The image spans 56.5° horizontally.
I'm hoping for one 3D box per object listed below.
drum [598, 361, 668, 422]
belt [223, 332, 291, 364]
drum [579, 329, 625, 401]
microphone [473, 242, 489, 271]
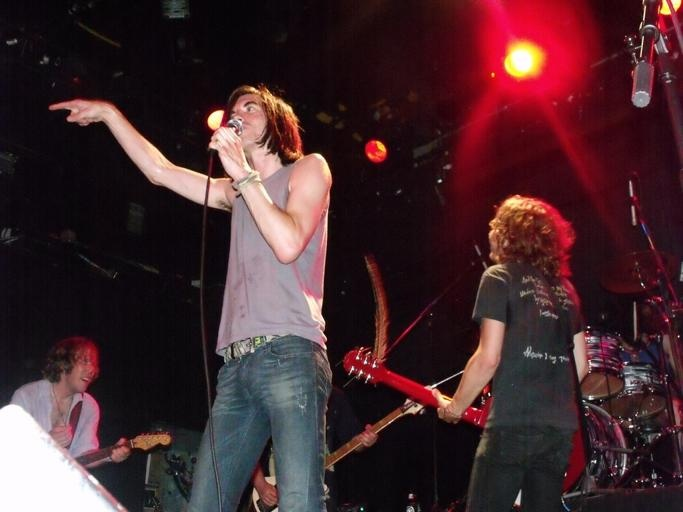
[{"bbox_3d":[3.203,1.466,6.878,0.609,0.260,0.608,-6,-26,-3],"label":"drum"},{"bbox_3d":[-0.486,0.472,3.302,0.217,0.062,0.167,-22,-10,-19],"label":"belt"},{"bbox_3d":[2.856,1.086,6.940,0.430,0.494,0.425,20,-18,-35],"label":"drum"},{"bbox_3d":[1.884,0.021,8.553,0.054,0.422,0.020,-27,-1,22],"label":"microphone"}]
